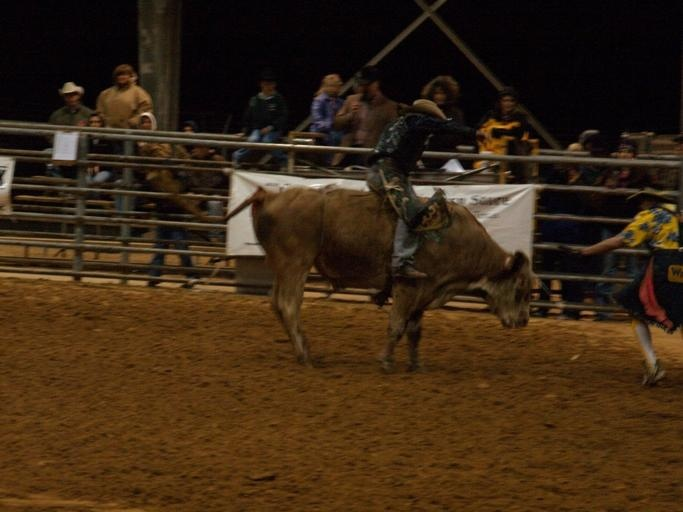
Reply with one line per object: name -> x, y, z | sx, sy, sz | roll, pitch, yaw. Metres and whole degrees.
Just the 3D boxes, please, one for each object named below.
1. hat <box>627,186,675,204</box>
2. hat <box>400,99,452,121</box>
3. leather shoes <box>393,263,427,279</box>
hat -> 3.474, -0.691, 8.829 | 0.484, 0.075, 0.386 | 2, 1, 1
hat -> 1.026, -1.581, 8.635 | 0.461, 0.097, 0.456 | 13, 4, 31
leather shoes -> 0.750, 0.155, 8.561 | 0.401, 0.164, 0.189 | 2, 5, -2
